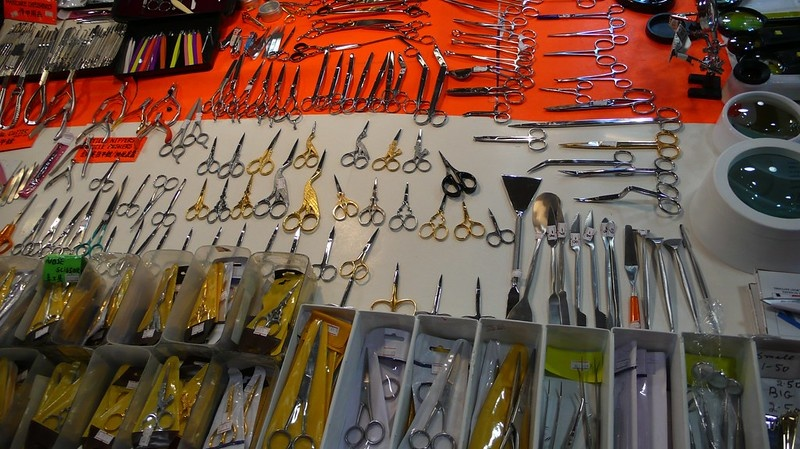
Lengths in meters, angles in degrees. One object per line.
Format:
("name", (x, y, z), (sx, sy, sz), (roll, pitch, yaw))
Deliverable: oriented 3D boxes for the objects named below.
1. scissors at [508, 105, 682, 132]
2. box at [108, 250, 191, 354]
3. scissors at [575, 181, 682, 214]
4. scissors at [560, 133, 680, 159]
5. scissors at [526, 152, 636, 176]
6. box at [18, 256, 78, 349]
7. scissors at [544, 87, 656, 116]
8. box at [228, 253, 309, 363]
("scissors", (1.203, -0.646, 3.556), (0.933, 0.322, 0.037), (2, -12, 10))
("box", (-1.325, 0.419, 3.227), (0.338, 0.529, 0.175), (8, -16, 23))
("scissors", (1.337, -0.144, 3.331), (0.467, 0.212, 0.111), (5, -48, 5))
("scissors", (1.346, -0.469, 3.493), (0.570, 0.233, 0.029), (-1, -19, 11))
("scissors", (1.104, -0.363, 3.533), (0.590, 0.231, 0.027), (5, -17, 9))
("box", (-1.933, 0.436, 3.302), (0.258, 0.484, 0.114), (7, -19, 6))
("scissors", (1.287, -0.768, 3.636), (0.518, 0.237, 0.057), (-1, -40, 13))
("box", (-0.642, 0.471, 3.135), (0.350, 0.587, 0.215), (5, -29, 25))
